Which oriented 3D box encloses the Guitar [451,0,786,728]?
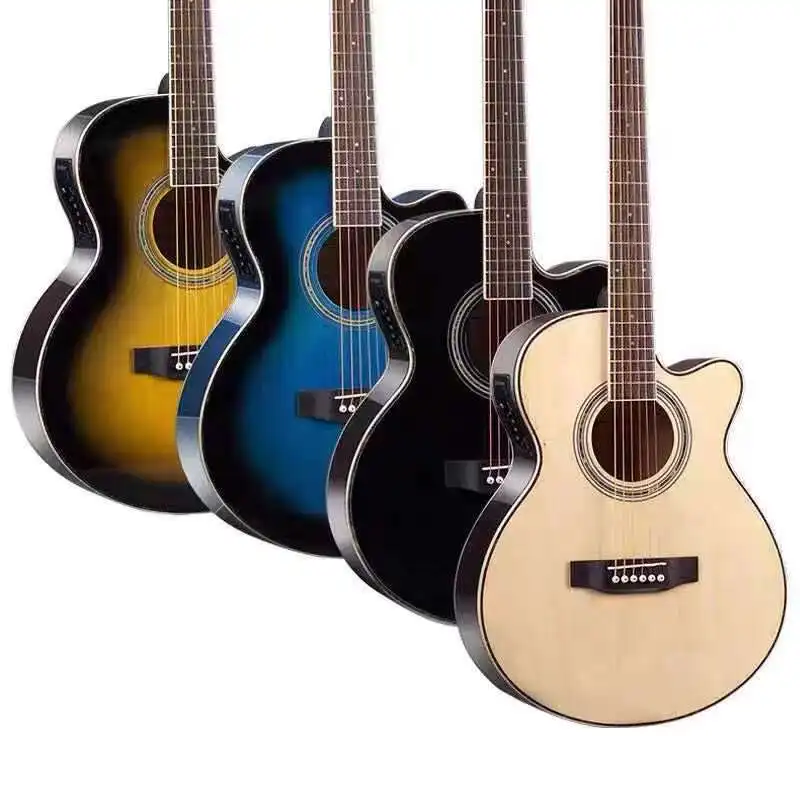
[{"bbox_3d":[0.516,0.076,2.667,0.733,1.097,1.226,-19,-54,20],"label":"Guitar"}]
